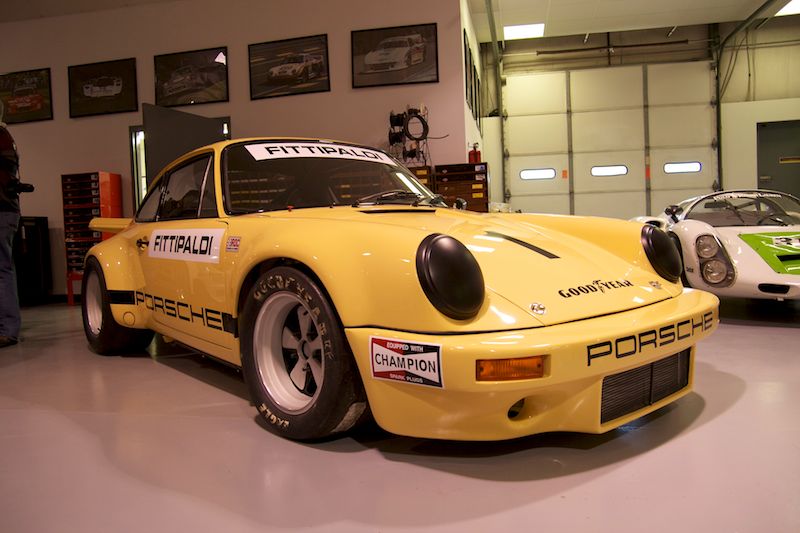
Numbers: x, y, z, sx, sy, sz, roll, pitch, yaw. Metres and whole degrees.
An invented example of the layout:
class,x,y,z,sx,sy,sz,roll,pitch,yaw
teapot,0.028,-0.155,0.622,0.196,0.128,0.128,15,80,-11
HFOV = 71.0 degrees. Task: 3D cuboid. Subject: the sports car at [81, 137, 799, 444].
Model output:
class,x,y,z,sx,sy,sz,roll,pitch,yaw
sports car,0.075,-0.208,4.538,4.396,1.622,3.696,4,12,32
